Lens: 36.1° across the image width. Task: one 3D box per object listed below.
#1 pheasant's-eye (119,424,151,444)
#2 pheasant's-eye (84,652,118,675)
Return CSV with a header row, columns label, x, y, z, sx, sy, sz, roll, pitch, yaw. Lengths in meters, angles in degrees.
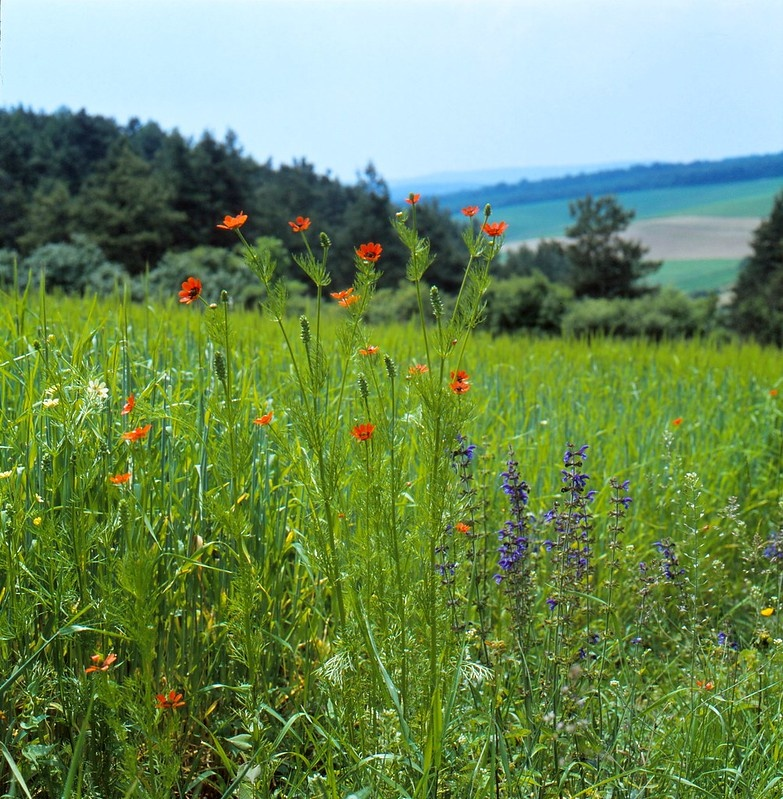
label,x,y,z,sx,sy,sz,roll,pitch,yaw
pheasant's-eye,-0.778,0.107,3.681,0.070,0.037,0.079,-19,11,10
pheasant's-eye,-0.843,0.768,3.515,0.086,0.058,0.105,6,-3,8
